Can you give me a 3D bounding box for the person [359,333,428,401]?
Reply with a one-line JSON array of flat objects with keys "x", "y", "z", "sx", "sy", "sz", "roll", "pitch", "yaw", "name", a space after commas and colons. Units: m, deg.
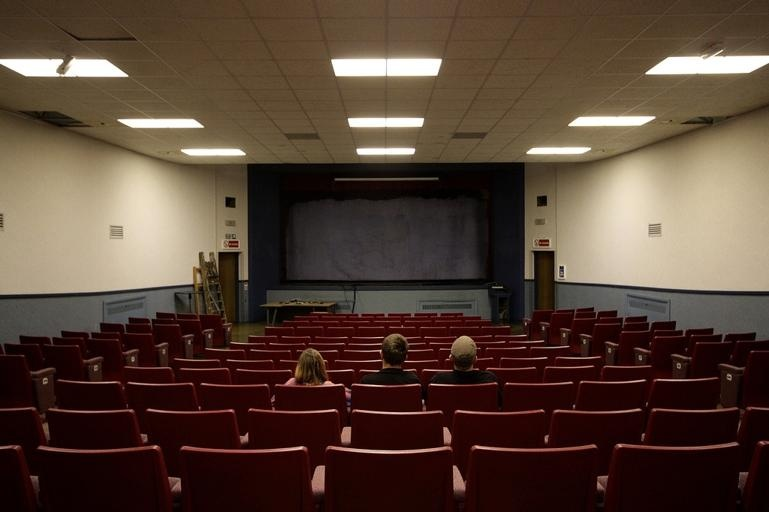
[{"x": 0.048, "y": 1.341, "z": 6.562, "sx": 0.733, "sy": 0.688, "sz": 0.474, "roll": 6, "pitch": 2, "yaw": -11, "name": "person"}]
